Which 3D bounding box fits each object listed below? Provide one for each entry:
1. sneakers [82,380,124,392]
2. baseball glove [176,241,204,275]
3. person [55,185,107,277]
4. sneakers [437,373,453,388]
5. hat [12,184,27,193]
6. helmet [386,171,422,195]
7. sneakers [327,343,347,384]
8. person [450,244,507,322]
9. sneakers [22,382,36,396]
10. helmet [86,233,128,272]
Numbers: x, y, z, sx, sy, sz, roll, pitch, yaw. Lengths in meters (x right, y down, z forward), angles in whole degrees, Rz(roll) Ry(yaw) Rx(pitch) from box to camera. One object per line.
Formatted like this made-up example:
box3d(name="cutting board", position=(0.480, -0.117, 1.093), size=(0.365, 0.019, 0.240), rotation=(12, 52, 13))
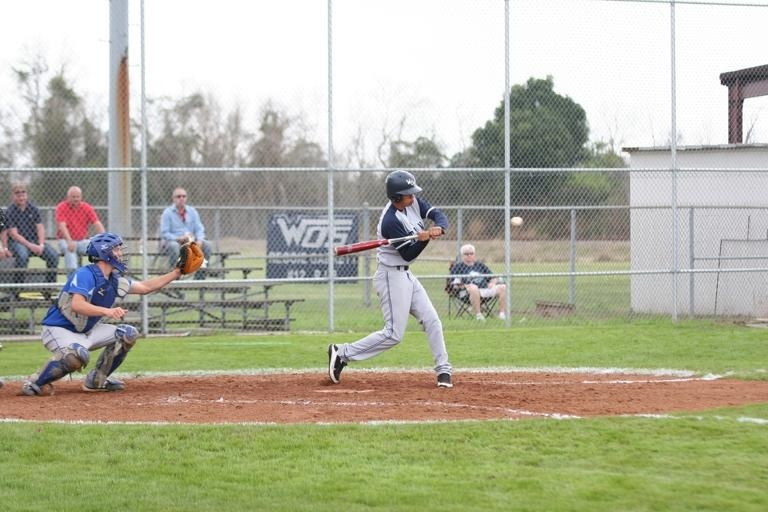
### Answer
box3d(name="sneakers", position=(-3.223, 1.452, 13.366), size=(0.422, 0.126, 0.165), rotation=(0, 0, -14))
box3d(name="baseball glove", position=(-2.247, 0.026, 13.416), size=(0.174, 0.376, 0.304), rotation=(-20, -29, 26))
box3d(name="person", position=(-4.520, -0.325, 17.156), size=(0.707, 1.370, 0.824), rotation=(-9, 17, -43))
box3d(name="sneakers", position=(0.740, 1.428, 13.577), size=(0.177, 0.168, 0.222), rotation=(-1, 2, 2))
box3d(name="hat", position=(-5.361, -1.022, 17.050), size=(0.177, 0.131, 0.177), rotation=(-2, -6, 26))
box3d(name="helmet", position=(0.247, -0.861, 13.467), size=(0.353, 0.192, 0.268), rotation=(1, 16, 9))
box3d(name="sneakers", position=(-0.537, 1.247, 13.715), size=(0.237, 0.506, 0.172), rotation=(-3, 6, 4))
box3d(name="person", position=(1.470, 0.394, 18.413), size=(1.018, 1.394, 1.121), rotation=(-1, 1, -34))
box3d(name="sneakers", position=(-4.017, 1.500, 13.199), size=(0.167, 0.157, 0.101), rotation=(-1, -3, 15))
box3d(name="helmet", position=(-3.204, -0.053, 13.402), size=(0.460, 0.418, 0.391), rotation=(-2, 8, -11))
